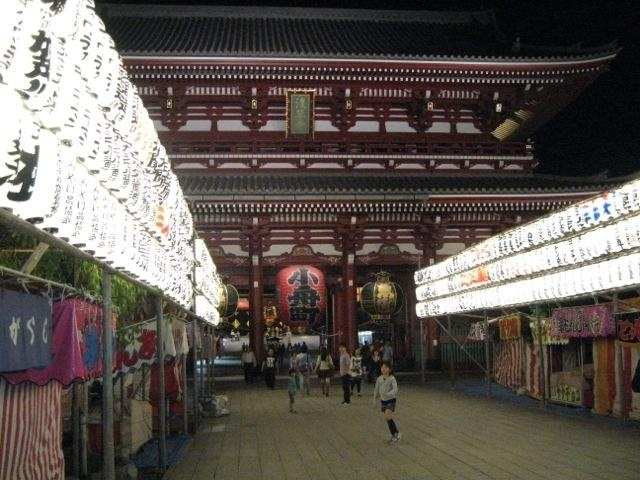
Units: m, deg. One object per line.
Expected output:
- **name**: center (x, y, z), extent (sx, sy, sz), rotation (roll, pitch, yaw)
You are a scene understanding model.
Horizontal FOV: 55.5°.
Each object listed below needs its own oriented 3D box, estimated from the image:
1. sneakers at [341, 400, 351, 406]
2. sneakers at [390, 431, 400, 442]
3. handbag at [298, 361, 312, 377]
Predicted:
- **sneakers**: center (0.769, 4.708, 17.583), extent (0.270, 0.131, 0.108), rotation (3, -10, 1)
- **sneakers**: center (1.512, 3.846, 11.885), extent (0.116, 0.097, 0.285), rotation (37, -53, -1)
- **handbag**: center (-0.432, 4.244, 20.049), extent (0.514, 0.434, 0.779), rotation (0, -8, 12)
